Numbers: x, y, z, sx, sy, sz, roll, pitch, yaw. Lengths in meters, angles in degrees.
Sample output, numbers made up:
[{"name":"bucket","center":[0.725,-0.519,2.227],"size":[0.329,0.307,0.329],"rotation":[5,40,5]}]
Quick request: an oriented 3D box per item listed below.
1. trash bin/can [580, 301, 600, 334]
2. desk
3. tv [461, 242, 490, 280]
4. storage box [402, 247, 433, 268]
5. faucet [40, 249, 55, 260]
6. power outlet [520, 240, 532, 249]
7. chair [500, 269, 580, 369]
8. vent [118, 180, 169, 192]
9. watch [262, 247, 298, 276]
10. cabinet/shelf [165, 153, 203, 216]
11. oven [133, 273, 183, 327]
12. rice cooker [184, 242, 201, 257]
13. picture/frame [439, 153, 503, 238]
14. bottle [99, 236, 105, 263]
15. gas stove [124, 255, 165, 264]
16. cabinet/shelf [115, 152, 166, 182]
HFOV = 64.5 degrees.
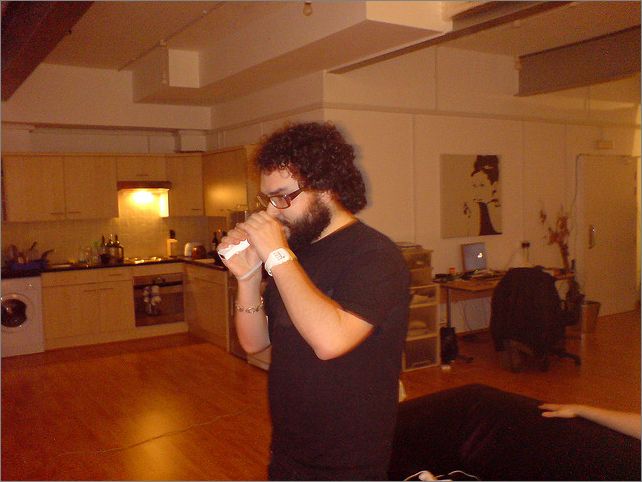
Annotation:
[{"name":"trash bin/can","center":[3.417,0.964,6.495],"size":[0.353,0.327,0.368],"rotation":[0,0,11]},{"name":"desk","center":[2.022,0.689,5.462],"size":[1.191,1.197,1.104],"rotation":[1,-1,31]},{"name":"tv","center":[1.820,0.241,6.031],"size":[0.424,0.401,0.056],"rotation":[-2,-3,-34]},{"name":"storage box","center":[0.913,0.156,4.811],"size":[0.274,0.166,0.269],"rotation":[-2,3,-25]},{"name":"faucet","center":[-3.495,0.169,6.468],"size":[0.065,0.121,0.161],"rotation":[3,8,32]},{"name":"power outlet","center":[2.656,0.046,6.534],"size":[0.172,0.093,0.113],"rotation":[-1,-1,-26]},{"name":"chair","center":[2.167,0.789,5.103],"size":[0.840,1.088,0.477],"rotation":[-5,7,-33]},{"name":"vent","center":[-2.317,-0.735,6.673],"size":[0.689,0.120,0.213],"rotation":[-4,7,-23]},{"name":"watch","center":[-0.148,0.060,1.764],"size":[0.116,0.071,0.111],"rotation":[-21,-17,-8]},{"name":"cabinet/shelf","center":[-1.846,-0.760,6.865],"size":[0.466,0.818,0.122],"rotation":[-3,6,-15]},{"name":"oven","center":[-2.150,0.710,6.857],"size":[0.764,0.731,0.604],"rotation":[-1,0,-36]},{"name":"rice cooker","center":[-1.741,0.106,6.888],"size":[0.206,0.192,0.204],"rotation":[3,1,-12]},{"name":"picture/frame","center":[1.832,-0.556,6.142],"size":[1.102,1.026,0.106],"rotation":[-8,6,-35]},{"name":"bottle","center":[-2.842,0.104,6.608],"size":[0.080,0.312,0.467],"rotation":[-4,7,-23]},{"name":"gas stove","center":[-2.333,0.251,6.732],"size":[0.530,0.036,0.648],"rotation":[-4,7,-21]},{"name":"cabinet/shelf","center":[-2.362,-0.956,6.695],"size":[0.613,0.368,0.322],"rotation":[-1,1,-35]}]
